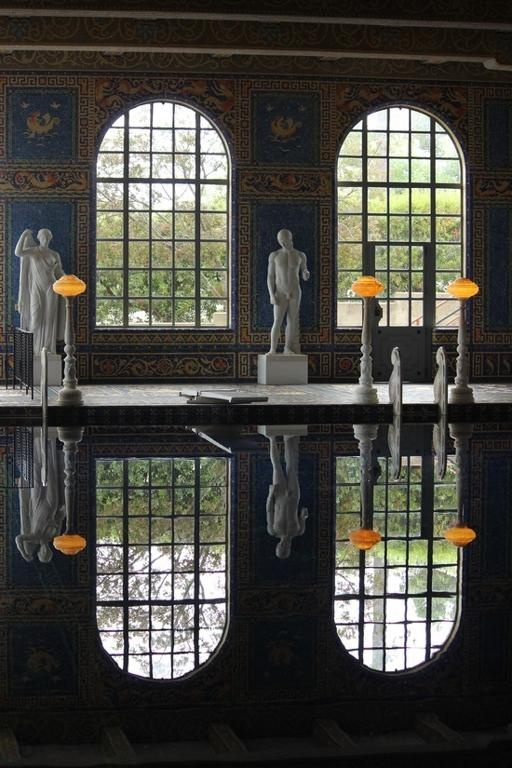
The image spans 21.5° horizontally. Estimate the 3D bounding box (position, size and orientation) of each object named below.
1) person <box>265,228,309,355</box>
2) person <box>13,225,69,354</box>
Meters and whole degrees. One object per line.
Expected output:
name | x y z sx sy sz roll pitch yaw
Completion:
person | 0.306 -0.914 13.624 0.367 1.255 0.475 1 8 1
person | -2.131 -0.891 13.314 0.478 1.249 0.850 0 8 -10
